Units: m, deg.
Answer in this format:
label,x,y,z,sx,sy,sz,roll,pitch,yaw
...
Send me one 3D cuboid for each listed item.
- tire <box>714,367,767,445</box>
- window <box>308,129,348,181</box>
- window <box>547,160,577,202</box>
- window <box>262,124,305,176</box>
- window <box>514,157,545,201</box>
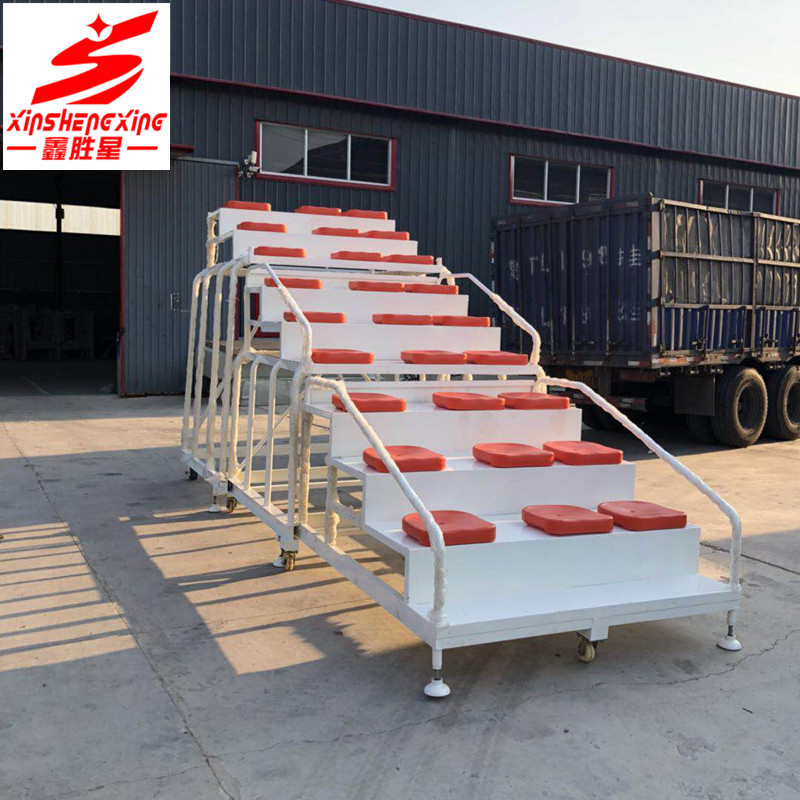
label,x,y,z,sx,sy,sz,roll,pitch,yaw
tire,4.401,0.099,9.299,0.867,1.006,0.315,7,-4,-44
window,-1.414,-4.636,13.615,0.933,1.021,0.060,-2,3,-36
window,3.553,-4.803,15.772,0.757,0.837,0.073,-6,11,-31
window,-2.207,-4.627,13.279,0.911,1.026,0.069,0,2,-13
window,2.777,-4.756,15.448,0.856,0.959,0.088,-1,6,-20
